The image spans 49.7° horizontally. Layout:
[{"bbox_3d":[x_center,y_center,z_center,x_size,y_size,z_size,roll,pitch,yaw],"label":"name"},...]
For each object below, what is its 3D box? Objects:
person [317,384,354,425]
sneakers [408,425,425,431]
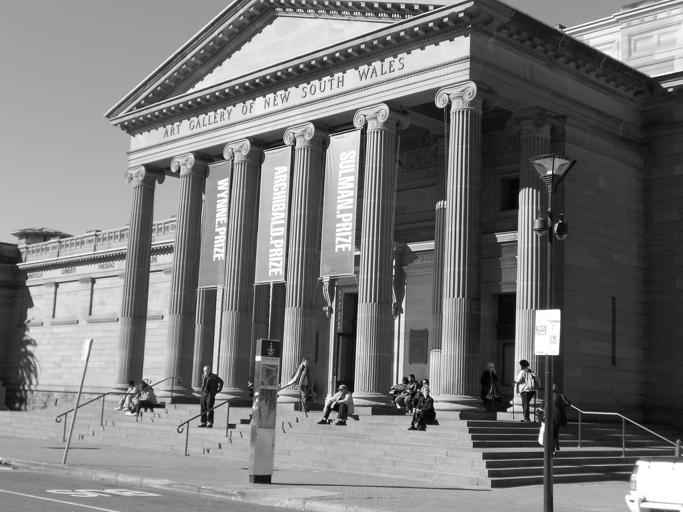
[{"bbox_3d":[-0.178,5.418,26.897,1.237,1.370,1.038,-10,-16,39],"label":"person"},{"bbox_3d":[2.494,5.619,24.199,0.575,0.171,0.285,-1,-12,4],"label":"sneakers"}]
